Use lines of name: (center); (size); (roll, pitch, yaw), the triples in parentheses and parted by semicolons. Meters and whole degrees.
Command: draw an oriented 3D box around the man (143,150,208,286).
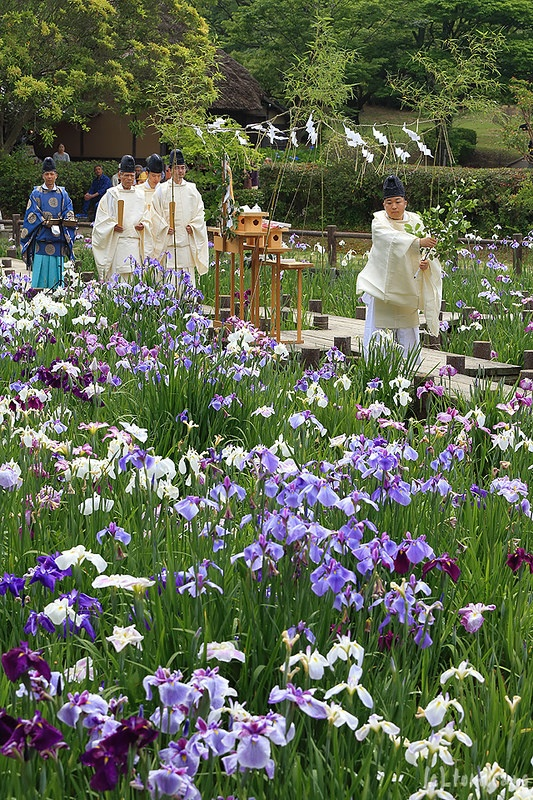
man: (-0.827, -1.553, 8.345); (0.401, 0.517, 1.702); (-1, -40, -7)

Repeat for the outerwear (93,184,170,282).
outerwear: (-1.318, -1.564, 8.360); (0.511, 0.398, 1.277); (-2, -36, -15)

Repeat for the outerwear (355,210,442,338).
outerwear: (0.833, -0.830, 5.686); (0.400, 0.864, 0.575); (4, 26, 11)

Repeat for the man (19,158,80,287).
man: (-2.201, -1.736, 9.015); (0.388, 1.497, 0.418); (0, 28, -18)

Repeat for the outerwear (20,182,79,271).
outerwear: (-2.237, -1.748, 9.191); (0.477, 0.476, 1.347); (-7, -34, -22)

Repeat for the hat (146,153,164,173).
hat: (-1.020, -2.168, 8.149); (0.110, 0.176, 0.213); (4, 10, -14)

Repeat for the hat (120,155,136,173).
hat: (-1.260, -2.152, 8.063); (0.115, 0.213, 0.160); (-3, 14, -18)

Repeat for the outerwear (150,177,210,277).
outerwear: (-0.802, -1.499, 8.250); (0.418, 1.266, 0.301); (-1, -26, -5)

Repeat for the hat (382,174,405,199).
hat: (0.785, -1.345, 5.624); (0.094, 0.184, 0.143); (-1, 6, 1)

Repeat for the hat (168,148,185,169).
hat: (-0.783, -2.089, 7.641); (0.112, 0.231, 0.184); (-1, 4, -11)

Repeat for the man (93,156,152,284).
man: (-1.327, -1.568, 8.283); (0.447, 1.497, 0.434); (-8, 46, -19)
